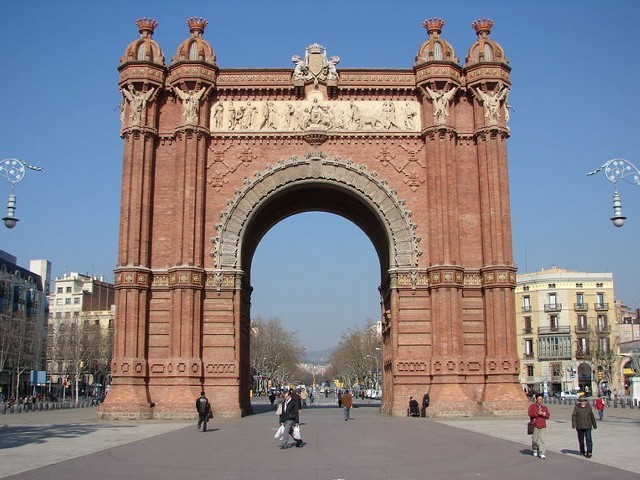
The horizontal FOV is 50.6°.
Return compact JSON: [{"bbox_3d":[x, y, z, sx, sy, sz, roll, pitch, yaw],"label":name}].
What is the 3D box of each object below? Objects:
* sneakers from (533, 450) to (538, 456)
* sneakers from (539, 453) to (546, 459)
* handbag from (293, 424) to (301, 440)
[{"bbox_3d":[7.382,7.342,23.292,0.192,0.215,0.452,-5,-14,16],"label":"sneakers"},{"bbox_3d":[7.495,7.317,22.931,0.104,0.123,0.288,1,-2,5],"label":"sneakers"},{"bbox_3d":[-0.936,7.373,25.993,0.262,0.565,0.625,0,-13,-3],"label":"handbag"}]
